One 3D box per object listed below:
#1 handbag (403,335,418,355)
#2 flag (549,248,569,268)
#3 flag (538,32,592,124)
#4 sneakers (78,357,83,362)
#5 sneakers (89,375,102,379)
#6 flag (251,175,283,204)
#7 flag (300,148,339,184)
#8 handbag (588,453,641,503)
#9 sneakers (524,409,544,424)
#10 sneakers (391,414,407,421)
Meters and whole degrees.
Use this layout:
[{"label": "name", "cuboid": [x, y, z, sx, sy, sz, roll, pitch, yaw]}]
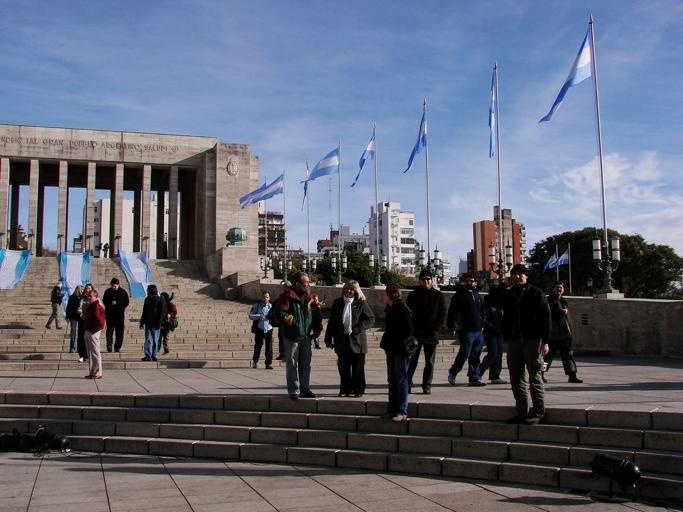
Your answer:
[{"label": "handbag", "cuboid": [1.126, 1.461, 13.320, 0.221, 0.296, 0.090, 2, -19, 3]}, {"label": "flag", "cuboid": [14.716, 0.163, 54.834, 1.636, 1.428, 0.139, 6, 13, 14]}, {"label": "flag", "cuboid": [7.141, -5.750, 24.684, 1.149, 4.784, 0.258, -11, -47, 41]}, {"label": "sneakers", "cuboid": [-6.239, 2.471, 19.403, 0.143, 0.134, 0.144, -9, -8, 36]}, {"label": "sneakers", "cuboid": [-5.091, 2.501, 16.840, 0.215, 0.090, 0.231, 1, 0, -23]}, {"label": "flag", "cuboid": [-3.685, -3.514, 41.469, 1.395, 1.269, 4.830, 1, 0, -8]}, {"label": "flag", "cuboid": [-0.752, -4.002, 35.211, 1.083, 1.267, 1.142, 1, 0, 9]}, {"label": "handbag", "cuboid": [3.904, 3.116, 11.541, 0.591, 0.611, 0.668, 13, -11, -36]}, {"label": "sneakers", "cuboid": [3.017, 2.482, 12.621, 0.366, 0.185, 0.116, 1, 0, -24]}, {"label": "sneakers", "cuboid": [0.926, 2.600, 13.094, 0.220, 0.209, 0.100, 7, -14, -6]}]
